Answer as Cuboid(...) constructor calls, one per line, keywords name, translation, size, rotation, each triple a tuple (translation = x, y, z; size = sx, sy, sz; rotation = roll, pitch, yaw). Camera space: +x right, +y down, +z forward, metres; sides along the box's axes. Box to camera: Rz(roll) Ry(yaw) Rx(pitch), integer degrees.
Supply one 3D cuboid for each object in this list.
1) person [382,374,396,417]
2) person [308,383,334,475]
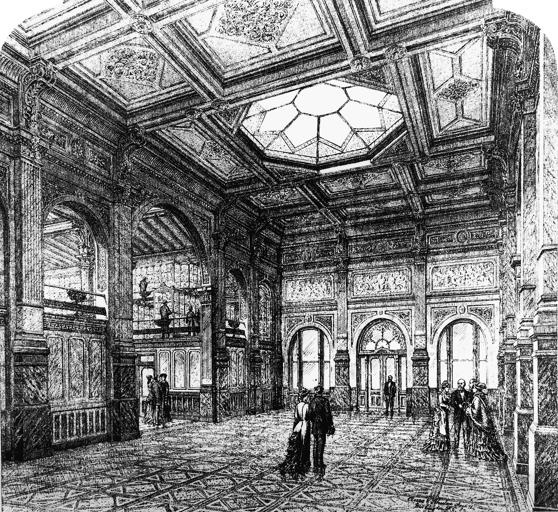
Cuboid(name="person", translation=(3.429, 4.273, 18.214), size=(0.359, 1.239, 1.608), rotation=(-2, -12, 10))
Cuboid(name="person", translation=(0.727, 2.900, 9.986), size=(0.379, 1.415, 0.824), rotation=(-1, -10, 5))
